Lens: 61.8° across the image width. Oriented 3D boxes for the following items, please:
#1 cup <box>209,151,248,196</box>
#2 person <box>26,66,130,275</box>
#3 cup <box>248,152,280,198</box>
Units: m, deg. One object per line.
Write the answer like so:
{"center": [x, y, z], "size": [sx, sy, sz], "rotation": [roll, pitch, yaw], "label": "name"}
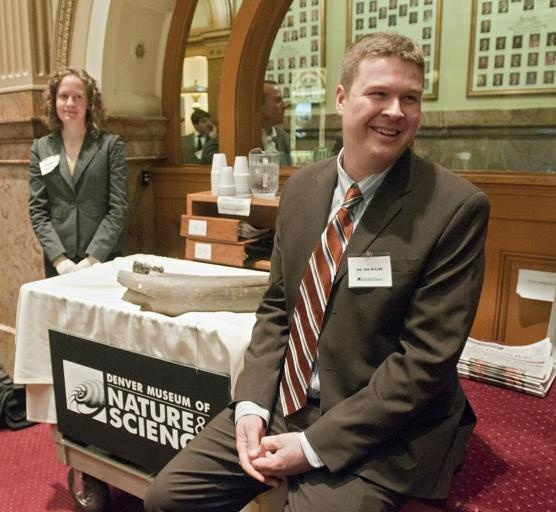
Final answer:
{"center": [-0.279, -0.475, 2.694], "size": [0.261, 0.316, 0.162], "rotation": [5, 16, 14], "label": "cup"}
{"center": [-1.233, -0.529, 2.808], "size": [0.592, 1.194, 0.429], "rotation": [-1, 10, -10], "label": "person"}
{"center": [-0.067, -0.462, 2.760], "size": [0.177, 0.378, 0.268], "rotation": [0, 10, 4], "label": "cup"}
